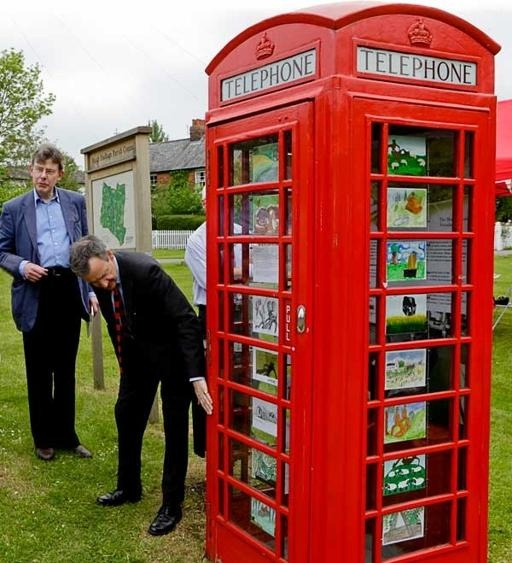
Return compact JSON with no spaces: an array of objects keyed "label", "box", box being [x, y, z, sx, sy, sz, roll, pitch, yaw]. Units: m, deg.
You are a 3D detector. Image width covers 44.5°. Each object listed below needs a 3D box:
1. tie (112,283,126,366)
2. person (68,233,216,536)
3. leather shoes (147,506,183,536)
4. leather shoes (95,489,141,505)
[{"label":"tie","box":[-0.763,0.258,3.482,0.067,0.506,0.283,-1,5,-13]},{"label":"person","box":[-0.618,0.560,3.537,0.688,1.641,0.828,0,5,-5]},{"label":"leather shoes","box":[-0.506,1.328,3.498,0.102,0.111,0.206,2,6,18]},{"label":"leather shoes","box":[-0.834,1.315,3.790,0.229,0.121,0.109,4,-3,-12]}]
